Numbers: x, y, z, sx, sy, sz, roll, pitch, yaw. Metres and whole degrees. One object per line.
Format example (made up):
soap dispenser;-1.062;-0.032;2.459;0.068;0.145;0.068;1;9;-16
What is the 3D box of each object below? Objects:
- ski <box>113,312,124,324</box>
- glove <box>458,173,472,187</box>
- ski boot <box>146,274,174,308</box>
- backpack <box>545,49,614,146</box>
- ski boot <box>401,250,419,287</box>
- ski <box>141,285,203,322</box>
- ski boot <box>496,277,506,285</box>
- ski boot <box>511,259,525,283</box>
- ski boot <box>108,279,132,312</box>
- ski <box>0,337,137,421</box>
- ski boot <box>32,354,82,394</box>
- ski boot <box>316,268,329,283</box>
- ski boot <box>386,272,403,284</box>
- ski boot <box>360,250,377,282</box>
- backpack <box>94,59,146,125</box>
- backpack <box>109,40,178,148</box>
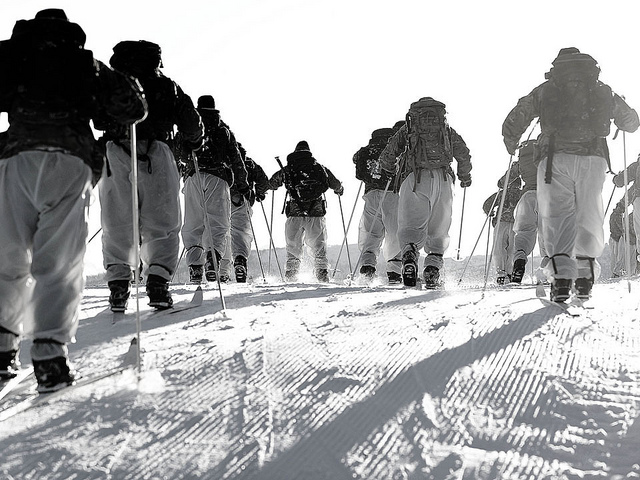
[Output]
ski;-1.944;0.751;4.668;0.079;0.092;0.149;-1;-7;-3
glove;2.450;-1.002;8.273;0.183;0.228;0.339;2;10;15
ski boot;-1.658;0.588;5.157;0.166;0.375;0.545;-11;-18;-1
backpack;2.858;-1.578;5.396;0.742;1.056;0.269;-1;9;-3
ski boot;1.384;0.428;7.516;0.233;0.529;0.253;1;9;9
ski;-1.479;0.676;5.068;0.527;0.256;0.160;10;-10;-44
ski boot;4.808;1.082;12.988;0.191;0.316;0.273;2;8;33
ski boot;4.509;0.678;11.132;0.174;0.621;0.261;9;15;12
ski boot;-2.013;0.549;4.892;0.201;0.324;0.163;-6;10;-29
ski;-1.384;0.749;3.041;0.167;0.185;1.155;5;12;36
ski boot;-1.567;0.800;2.922;0.227;0.219;0.182;-13;4;-26
ski boot;0.086;0.853;11.807;0.325;0.288;0.404;-3;10;-15
ski boot;1.499;0.761;9.693;0.223;0.225;0.217;3;-6;-23
ski boot;0.975;0.534;10.825;0.304;0.449;0.699;12;35;24
backpack;-1.399;-0.940;3.273;0.145;0.248;0.364;-40;-27;21
backpack;-1.754;-1.469;4.896;0.686;1.068;0.401;-2;9;-6
